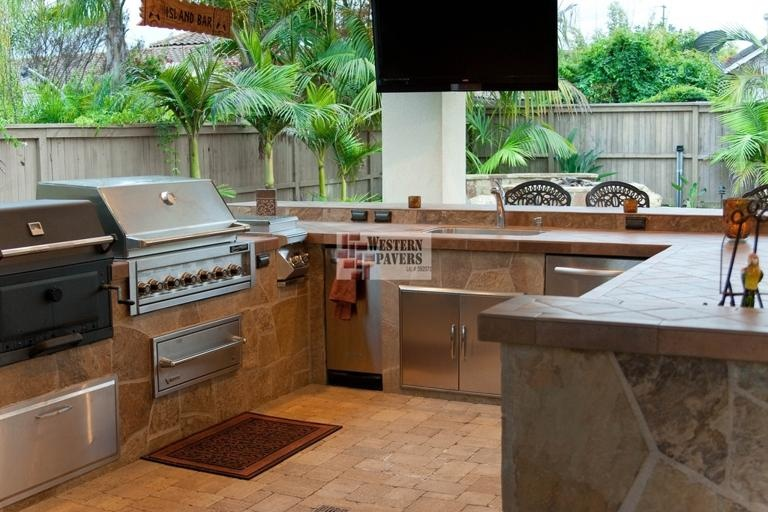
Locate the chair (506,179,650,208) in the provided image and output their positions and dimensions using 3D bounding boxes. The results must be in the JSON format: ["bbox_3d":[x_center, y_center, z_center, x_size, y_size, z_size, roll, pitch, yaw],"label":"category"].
[{"bbox_3d":[1.870,-0.594,5.508,1.292,0.236,0.417,3,10,19],"label":"chair"}]

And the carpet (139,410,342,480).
[{"bbox_3d":[-0.920,1.229,3.788,0.750,0.029,1.031,6,12,37],"label":"carpet"}]

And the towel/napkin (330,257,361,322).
[{"bbox_3d":[-0.316,0.268,4.536,0.149,0.440,0.293,3,6,-21],"label":"towel/napkin"}]
